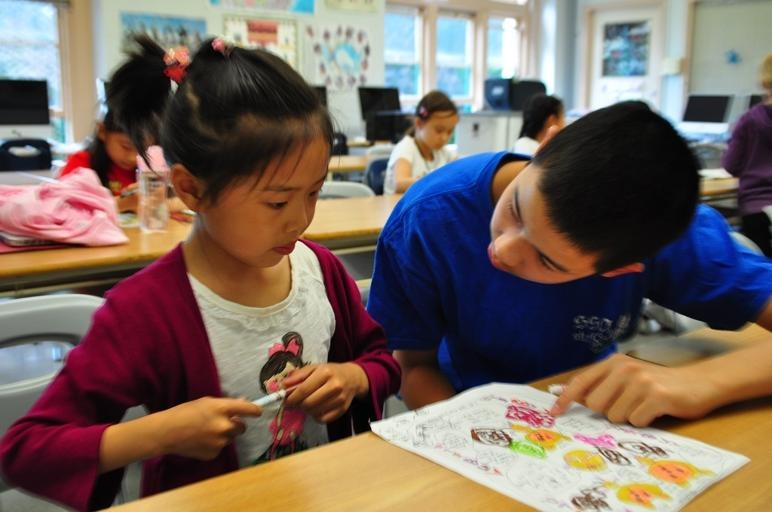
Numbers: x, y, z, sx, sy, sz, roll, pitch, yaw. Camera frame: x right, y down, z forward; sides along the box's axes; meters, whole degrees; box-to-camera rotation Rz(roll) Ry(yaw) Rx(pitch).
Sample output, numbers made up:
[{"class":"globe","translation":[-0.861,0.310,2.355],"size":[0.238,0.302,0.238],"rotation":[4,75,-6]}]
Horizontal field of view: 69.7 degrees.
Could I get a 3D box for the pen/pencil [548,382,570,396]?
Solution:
[{"class":"pen/pencil","translation":[0.343,0.264,1.096],"size":[0.031,0.017,0.012],"rotation":[-10,1,-31]}]
